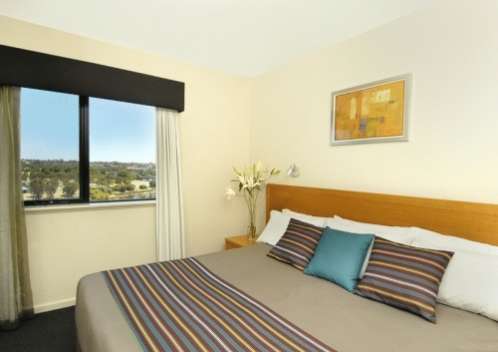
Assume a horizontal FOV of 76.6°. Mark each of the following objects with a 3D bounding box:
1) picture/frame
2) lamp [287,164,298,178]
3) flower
[{"bbox_3d":[1.356,-0.724,3.462,0.906,0.737,0.061,1,0,41],"label":"picture/frame"},{"bbox_3d":[0.565,-0.072,4.235,0.122,0.181,0.174,-1,5,-34],"label":"lamp"},{"bbox_3d":[0.040,0.399,4.797,0.840,1.197,0.664,-2,6,-19],"label":"flower"}]
